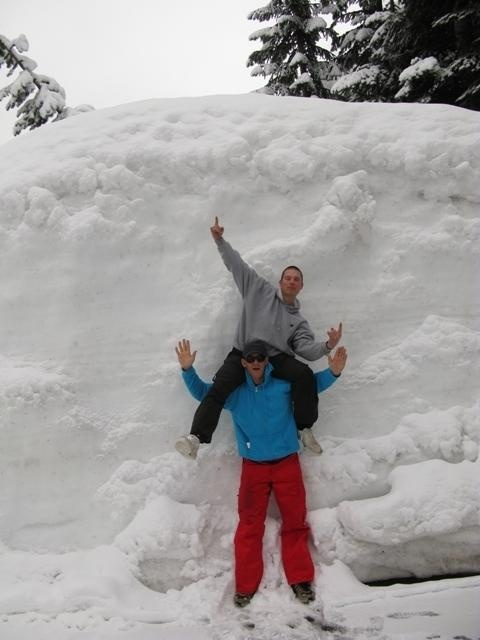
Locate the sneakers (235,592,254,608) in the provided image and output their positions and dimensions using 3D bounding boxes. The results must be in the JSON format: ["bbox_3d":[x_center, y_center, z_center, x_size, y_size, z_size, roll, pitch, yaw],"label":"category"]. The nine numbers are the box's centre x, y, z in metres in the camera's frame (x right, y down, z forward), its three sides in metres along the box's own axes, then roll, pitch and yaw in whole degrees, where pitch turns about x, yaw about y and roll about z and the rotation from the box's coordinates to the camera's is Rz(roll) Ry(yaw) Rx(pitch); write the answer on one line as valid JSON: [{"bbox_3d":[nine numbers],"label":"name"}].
[{"bbox_3d":[0.015,2.279,6.345,0.146,0.081,0.090,-12,23,8],"label":"sneakers"}]

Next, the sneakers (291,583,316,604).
[{"bbox_3d":[0.505,2.232,6.388,0.082,0.106,0.238,2,13,-22],"label":"sneakers"}]

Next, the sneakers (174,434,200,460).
[{"bbox_3d":[-0.434,1.052,6.530,0.189,0.202,0.196,9,3,2],"label":"sneakers"}]

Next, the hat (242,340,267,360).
[{"bbox_3d":[0.123,0.269,6.952,0.202,0.148,0.290,2,-4,1],"label":"hat"}]
